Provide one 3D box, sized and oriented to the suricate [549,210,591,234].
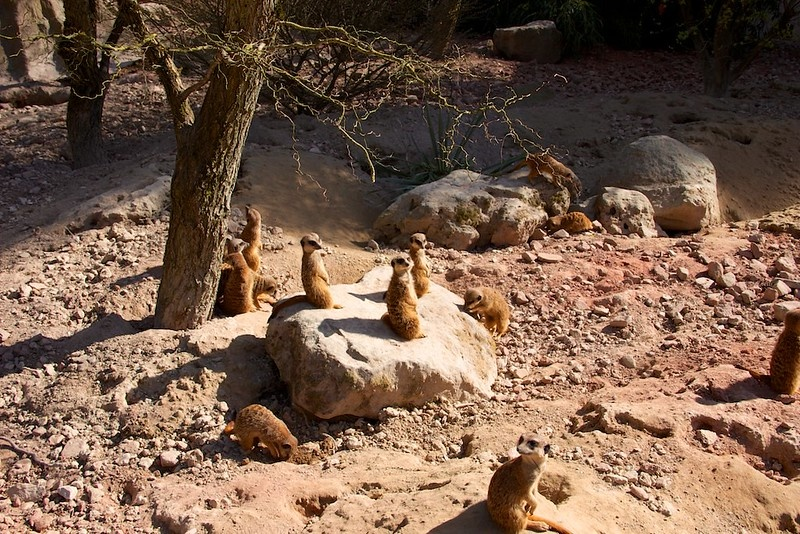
[{"bbox_3d":[2.522,-0.632,11.255,0.544,0.284,0.315,3,34,17],"label":"suricate"}]
